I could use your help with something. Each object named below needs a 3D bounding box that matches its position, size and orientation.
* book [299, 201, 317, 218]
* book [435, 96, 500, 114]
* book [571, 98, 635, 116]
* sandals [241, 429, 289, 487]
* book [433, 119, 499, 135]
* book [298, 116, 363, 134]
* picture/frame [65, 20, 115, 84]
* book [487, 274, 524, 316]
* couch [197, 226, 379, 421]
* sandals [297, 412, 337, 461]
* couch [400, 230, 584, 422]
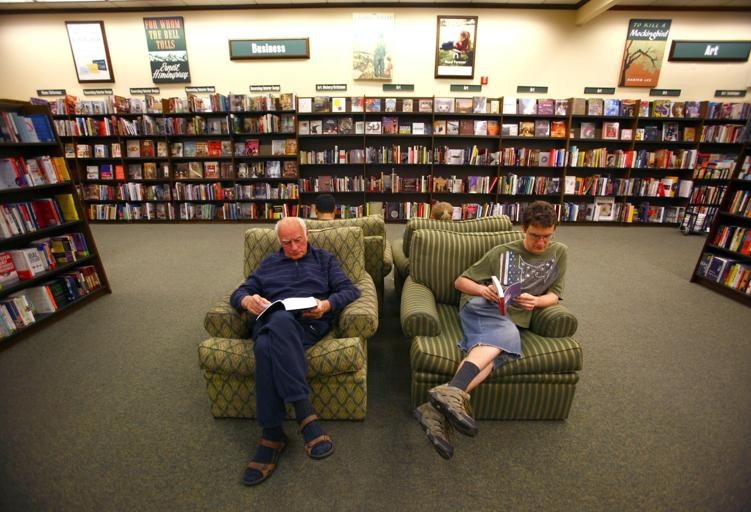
[{"bbox_3d":[-1.339,-0.878,9.517,0.414,0.410,0.304,2,12,2],"label":"book"},{"bbox_3d":[1.718,-2.803,9.059,1.247,0.290,0.277,2,19,8],"label":"book"},{"bbox_3d":[4.257,-2.754,9.024,1.246,0.323,0.285,-4,19,-11],"label":"book"},{"bbox_3d":[-0.976,1.715,4.310,0.224,0.223,0.572,6,24,11],"label":"sandals"},{"bbox_3d":[1.728,-2.402,9.160,1.271,0.291,0.205,-3,19,-8],"label":"book"},{"bbox_3d":[-0.825,-2.462,9.211,1.236,0.317,0.240,0,19,1],"label":"book"},{"bbox_3d":[-5.350,-3.906,9.153,1.054,1.418,0.139,3,21,5],"label":"picture/frame"},{"bbox_3d":[1.209,0.354,4.510,0.316,0.338,0.123,-2,48,-5],"label":"book"},{"bbox_3d":[-0.766,0.578,5.255,1.840,1.606,1.814,-1,11,1],"label":"couch"},{"bbox_3d":[-0.579,1.572,4.452,0.241,0.228,0.660,-20,21,-21],"label":"sandals"},{"bbox_3d":[1.025,0.682,5.162,1.933,1.668,1.793,-1,26,1],"label":"couch"}]
